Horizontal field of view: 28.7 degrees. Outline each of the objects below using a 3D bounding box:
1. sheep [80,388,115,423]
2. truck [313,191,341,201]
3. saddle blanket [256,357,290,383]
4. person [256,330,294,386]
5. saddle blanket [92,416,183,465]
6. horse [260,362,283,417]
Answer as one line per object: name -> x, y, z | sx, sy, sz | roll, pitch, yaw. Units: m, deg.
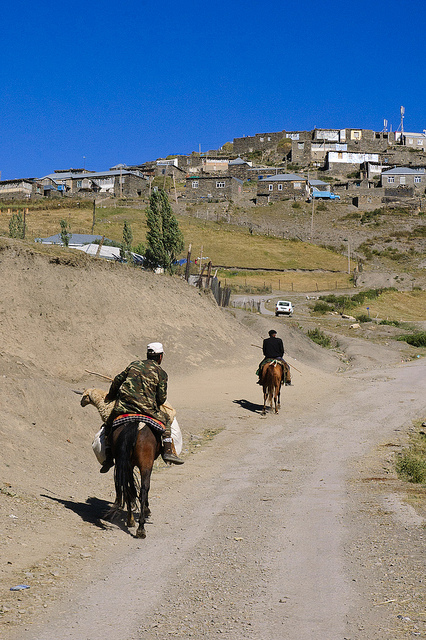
sheep -> -1.664, 1.235, 12.010 | 0.329, 0.408, 1.052 | 0, 2, -21
truck -> 17.891, -19.723, 131.824 | 3.245, 1.192, 1.945 | -2, 8, -13
saddle blanket -> 1.595, 1.277, 21.828 | 0.806, 0.612, 0.843 | 0, 2, -2
person -> 1.640, 0.958, 22.098 | 0.841, 1.630, 0.969 | -1, 4, 19
saddle blanket -> -1.057, 1.686, 11.640 | 0.680, 0.944, 1.177 | 0, 4, -2
horse -> 1.532, 1.761, 21.724 | 0.577, 1.346, 1.454 | 1, 2, 5
